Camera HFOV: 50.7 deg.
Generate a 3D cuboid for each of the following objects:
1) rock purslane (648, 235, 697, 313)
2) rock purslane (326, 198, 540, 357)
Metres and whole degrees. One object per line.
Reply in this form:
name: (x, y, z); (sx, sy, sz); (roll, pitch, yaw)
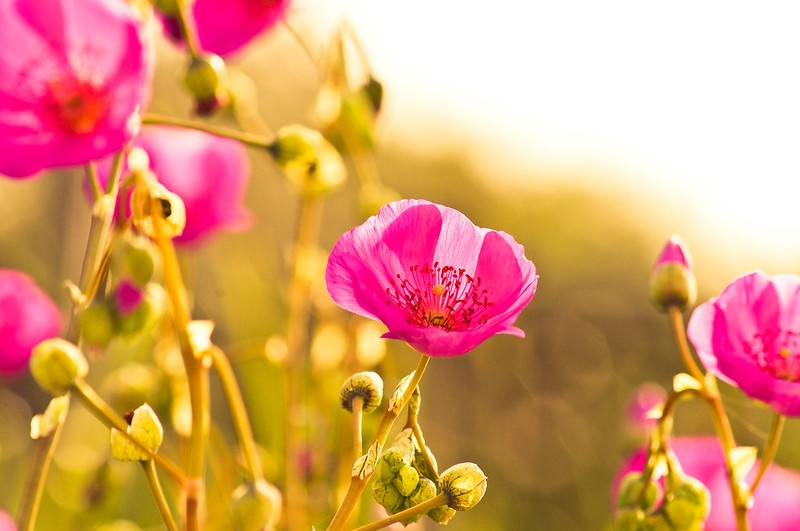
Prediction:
rock purslane: (0.287, 0.011, 0.880); (0.053, 0.063, 0.045); (38, 36, 30)
rock purslane: (0.028, 0.021, 0.826); (0.164, 0.080, 0.176); (10, 59, -21)
